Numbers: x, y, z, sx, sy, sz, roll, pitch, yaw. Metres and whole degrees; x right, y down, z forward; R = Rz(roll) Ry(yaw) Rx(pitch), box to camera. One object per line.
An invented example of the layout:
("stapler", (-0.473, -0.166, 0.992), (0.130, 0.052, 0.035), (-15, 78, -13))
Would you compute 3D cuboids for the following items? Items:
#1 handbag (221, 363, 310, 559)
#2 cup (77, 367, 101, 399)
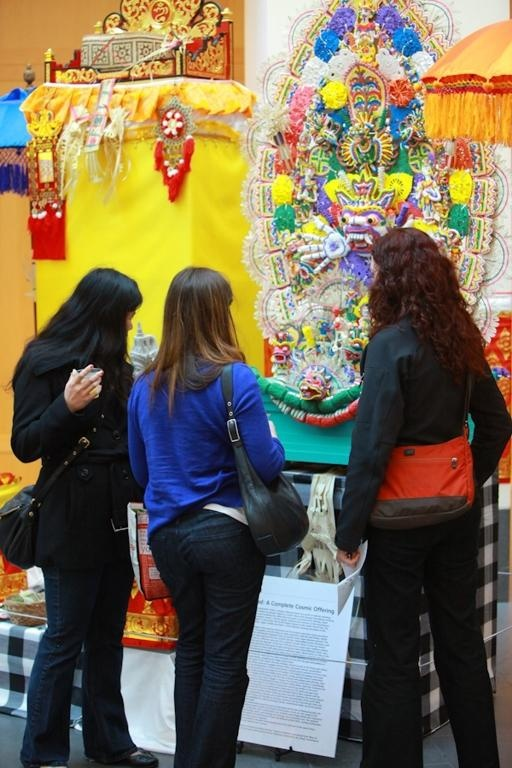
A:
("handbag", (0.020, 0.158, 1.514), (0.127, 0.396, 0.190), (3, 8, 26))
("cup", (-0.395, -0.001, 1.778), (0.054, 0.083, 0.087), (2, 1, -19))
